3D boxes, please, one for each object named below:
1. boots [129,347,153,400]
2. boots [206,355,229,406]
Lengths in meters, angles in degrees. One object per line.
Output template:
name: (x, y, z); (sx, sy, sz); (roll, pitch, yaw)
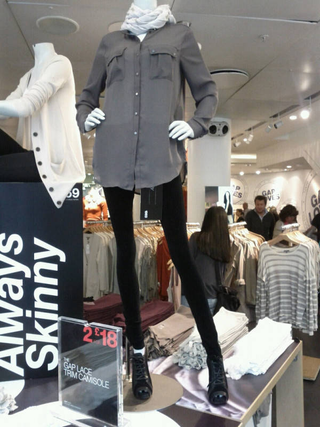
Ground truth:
boots: (-0.077, 0.575, 1.233); (0.046, 0.070, 0.178); (-5, 43, 2)
boots: (0.196, 0.585, 1.224); (0.044, 0.089, 0.164); (-4, 5, 3)
